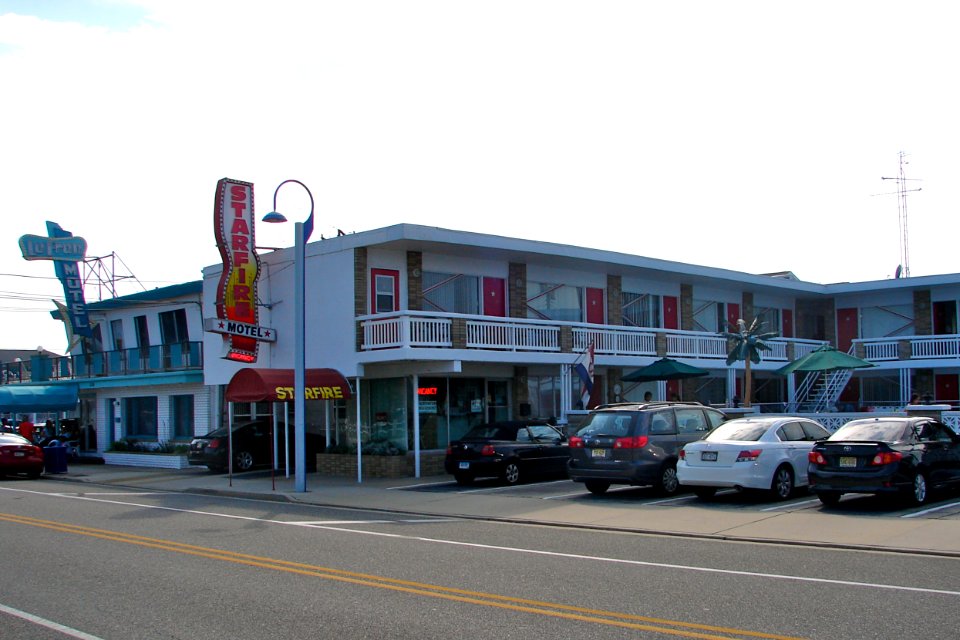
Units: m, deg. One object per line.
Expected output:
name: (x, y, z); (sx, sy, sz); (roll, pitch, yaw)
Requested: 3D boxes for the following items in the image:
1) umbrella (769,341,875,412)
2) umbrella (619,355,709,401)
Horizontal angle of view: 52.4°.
umbrella: (12.509, 2.115, 36.273); (3.309, 2.299, 3.060); (-2, 0, -40)
umbrella: (6.500, 2.219, 34.907); (2.750, 1.860, 2.605); (-3, 5, -33)
